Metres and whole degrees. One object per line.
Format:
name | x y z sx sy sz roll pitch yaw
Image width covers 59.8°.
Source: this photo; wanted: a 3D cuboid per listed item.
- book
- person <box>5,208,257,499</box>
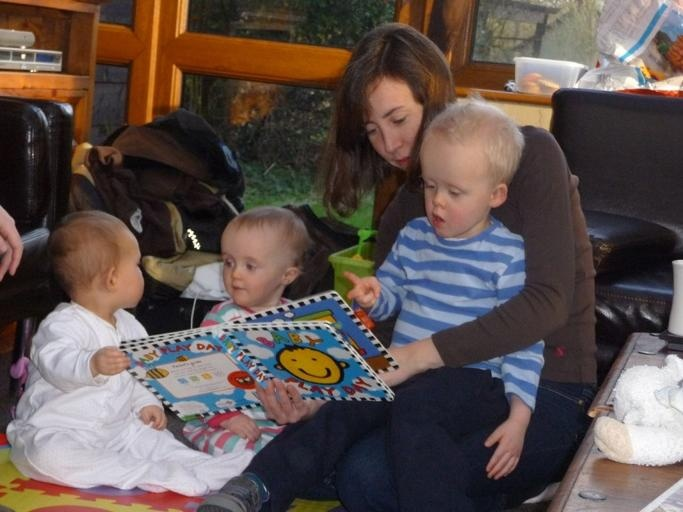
book | -0.196 0.229 1.361 0.528 0.303 0.079 -9 49 25
person | -0.702 0.280 1.901 0.765 0.917 0.588 1 -5 6
